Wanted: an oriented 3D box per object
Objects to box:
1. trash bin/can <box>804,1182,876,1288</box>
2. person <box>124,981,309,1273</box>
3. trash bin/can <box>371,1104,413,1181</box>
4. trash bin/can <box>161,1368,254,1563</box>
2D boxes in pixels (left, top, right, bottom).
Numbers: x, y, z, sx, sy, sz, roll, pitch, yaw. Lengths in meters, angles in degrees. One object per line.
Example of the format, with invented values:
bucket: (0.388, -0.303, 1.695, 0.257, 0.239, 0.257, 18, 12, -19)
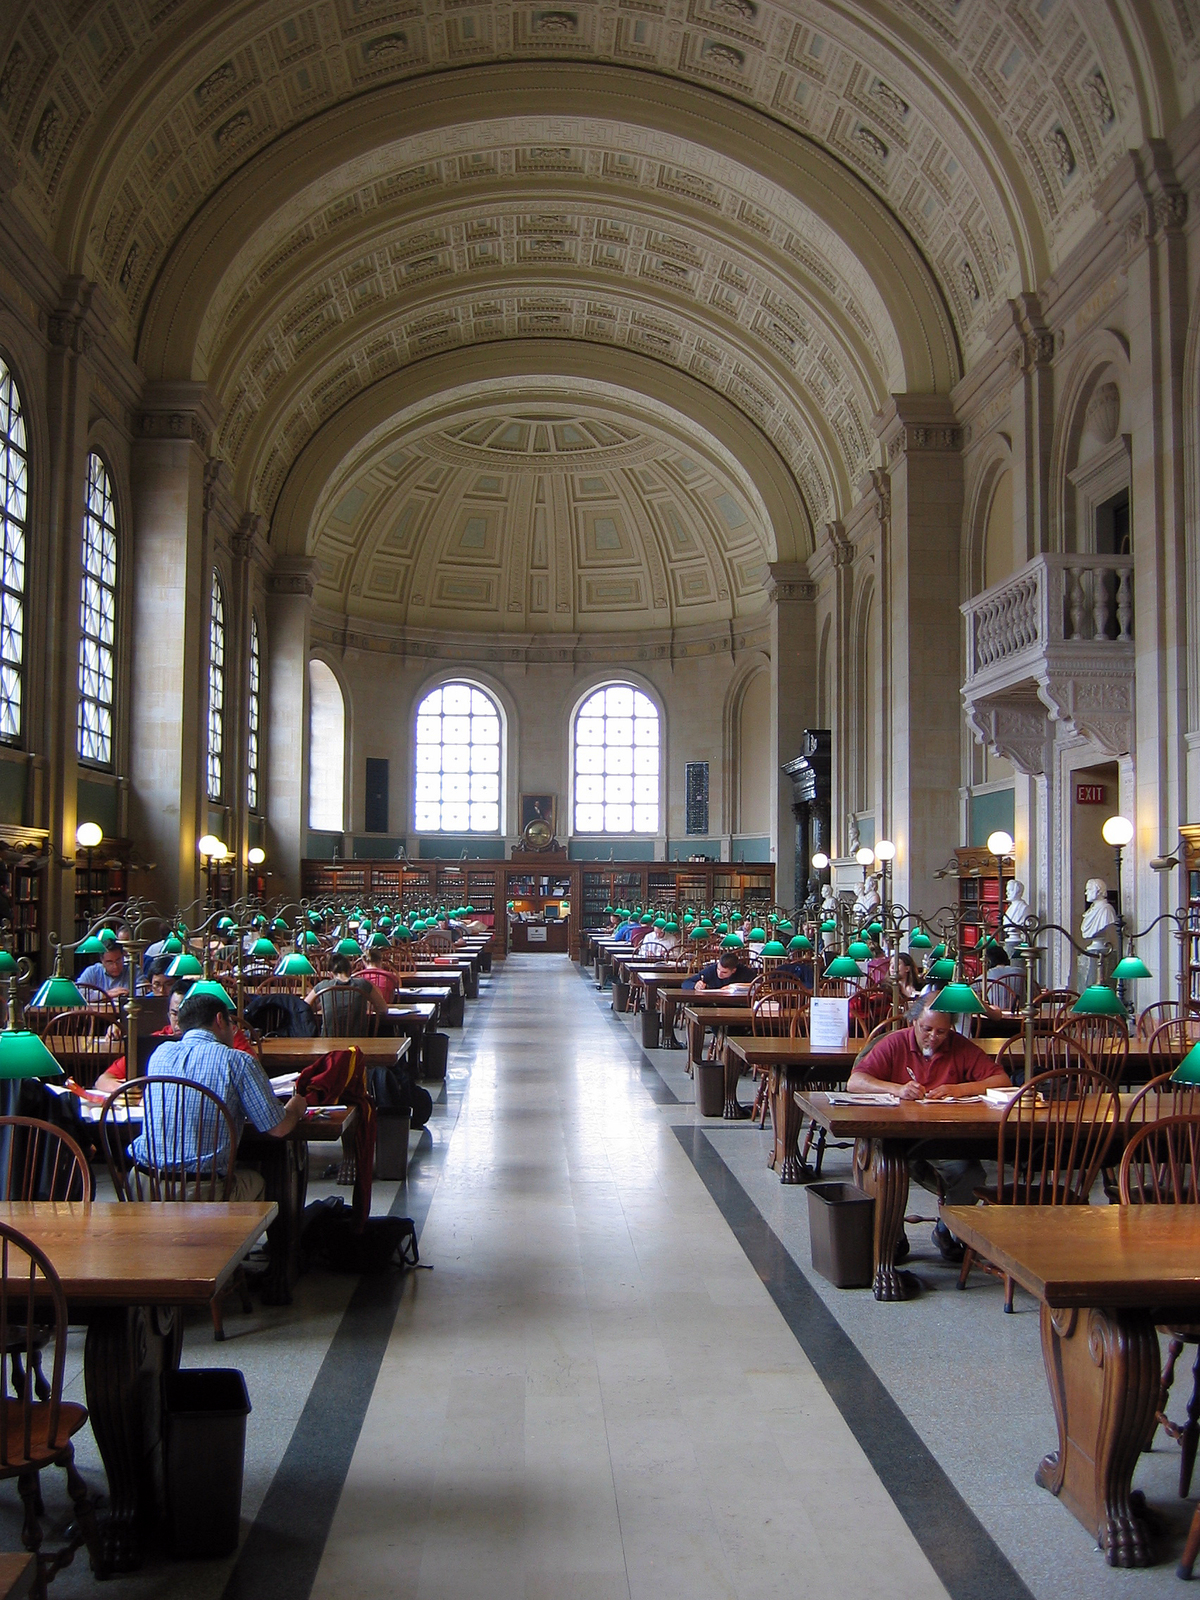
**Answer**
trash bin/can: (1.009, 1.847, 5.156, 0.282, 0.401, 0.520, -1, -1, -4)
person: (-1.395, 1.300, 4.452, 0.468, 1.180, 0.685, -2, -4, 13)
trash bin/can: (-1.204, 2.069, 7.155, 0.297, 0.500, 0.315, 2, -4, -8)
trash bin/can: (-0.901, 1.505, 2.707, 0.178, 0.355, 0.287, 3, -6, -18)
